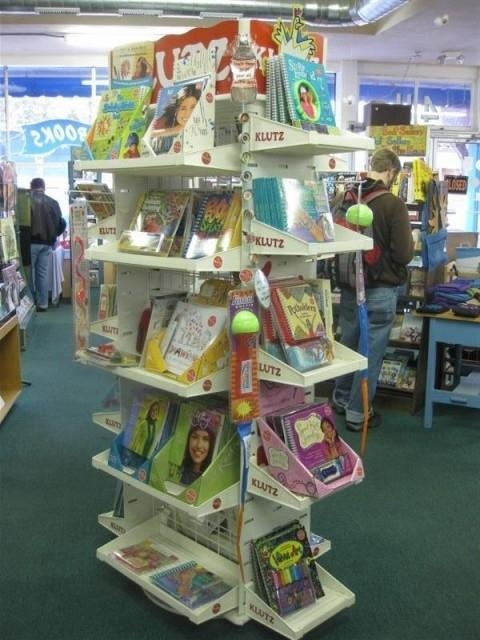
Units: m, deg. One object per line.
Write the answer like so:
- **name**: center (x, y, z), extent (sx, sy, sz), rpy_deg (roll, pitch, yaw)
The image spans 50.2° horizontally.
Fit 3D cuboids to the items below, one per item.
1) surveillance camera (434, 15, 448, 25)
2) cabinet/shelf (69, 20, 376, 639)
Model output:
- **surveillance camera**: center (2.639, -3.949, 6.726), extent (0.103, 0.145, 0.103), rpy_deg (13, -20, 49)
- **cabinet/shelf**: center (-0.089, 0.014, 1.724), extent (0.598, 1.930, 1.026), rpy_deg (-6, 9, -41)
